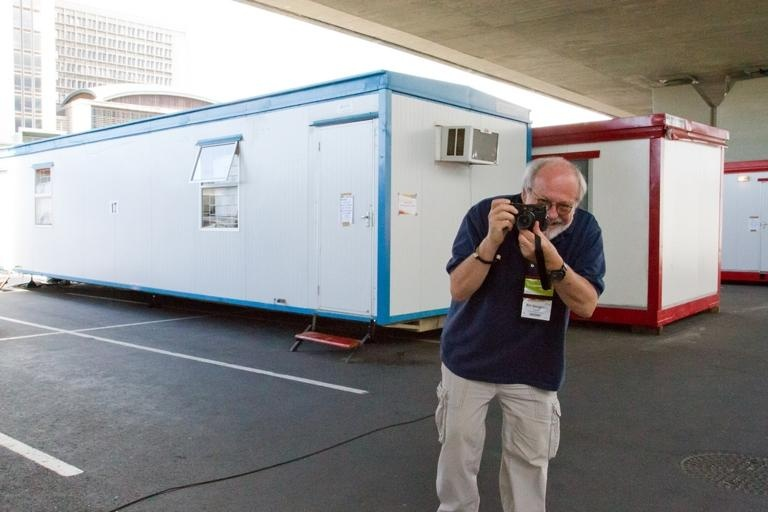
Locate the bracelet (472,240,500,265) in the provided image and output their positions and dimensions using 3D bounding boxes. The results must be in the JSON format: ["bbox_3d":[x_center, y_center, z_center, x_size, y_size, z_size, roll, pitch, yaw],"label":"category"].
[{"bbox_3d":[0.621,-0.017,3.154,0.160,0.148,0.042,-6,2,9],"label":"bracelet"}]

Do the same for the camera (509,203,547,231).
[{"bbox_3d":[0.850,-0.235,3.082,0.143,0.149,0.234,-3,3,-44],"label":"camera"}]
